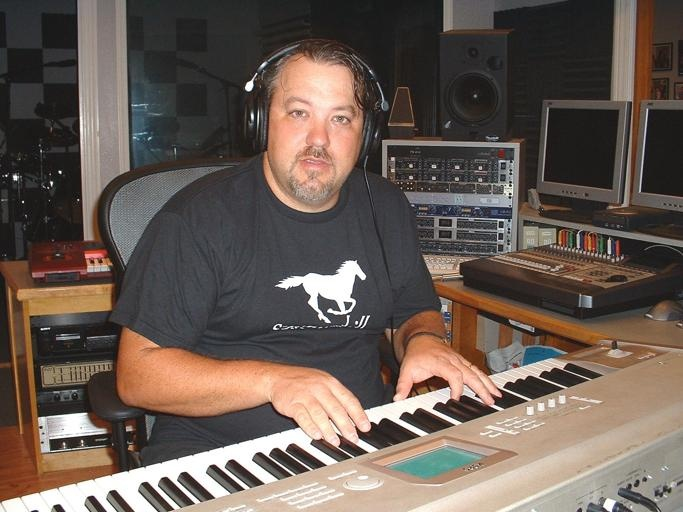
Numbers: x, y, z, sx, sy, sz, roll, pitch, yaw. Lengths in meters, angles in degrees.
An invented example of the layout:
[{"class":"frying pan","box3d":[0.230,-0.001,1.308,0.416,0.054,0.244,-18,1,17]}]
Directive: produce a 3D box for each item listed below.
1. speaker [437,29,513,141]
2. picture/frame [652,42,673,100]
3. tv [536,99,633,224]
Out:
[{"class":"speaker","box3d":[0.810,-1.003,3.225,0.519,0.589,0.495,-19,27,-41]},{"class":"picture/frame","box3d":[2.086,-1.214,3.607,0.118,0.357,0.229,3,15,29]},{"class":"tv","box3d":[1.226,-0.541,2.844,0.135,0.532,0.461,-12,15,-28]}]
